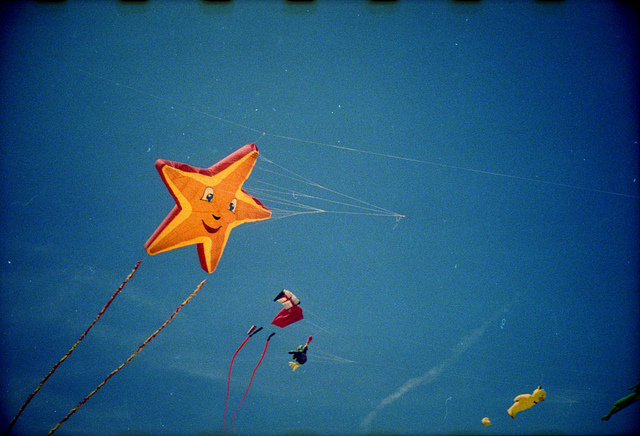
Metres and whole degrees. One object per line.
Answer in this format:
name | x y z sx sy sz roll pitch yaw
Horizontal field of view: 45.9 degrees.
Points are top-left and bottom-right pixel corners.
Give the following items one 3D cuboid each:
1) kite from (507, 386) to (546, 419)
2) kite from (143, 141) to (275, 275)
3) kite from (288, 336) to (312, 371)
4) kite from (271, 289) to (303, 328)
kite | 1.924 1.717 7.140 0.370 0.157 0.199 -33 -80 0
kite | -0.933 -0.121 6.751 1.299 0.178 1.294 25 -83 -40
kite | -0.185 1.271 7.056 0.212 0.085 0.173 -38 -86 12
kite | -0.295 0.852 6.981 0.283 0.067 0.341 8 -74 -9
